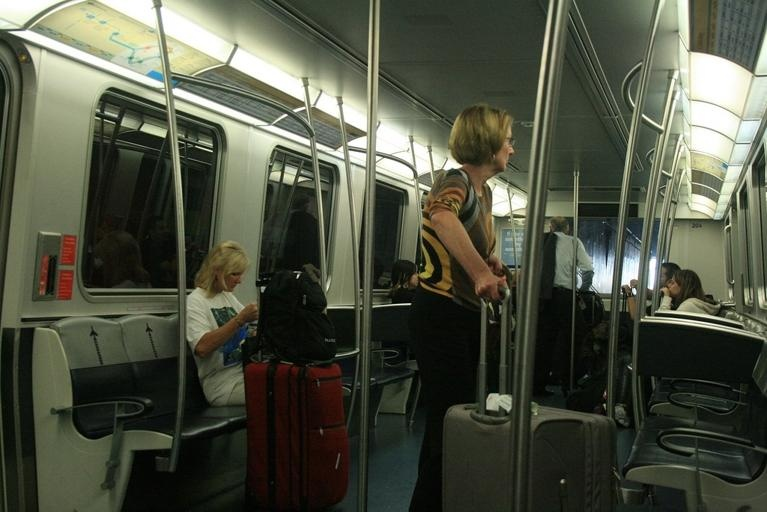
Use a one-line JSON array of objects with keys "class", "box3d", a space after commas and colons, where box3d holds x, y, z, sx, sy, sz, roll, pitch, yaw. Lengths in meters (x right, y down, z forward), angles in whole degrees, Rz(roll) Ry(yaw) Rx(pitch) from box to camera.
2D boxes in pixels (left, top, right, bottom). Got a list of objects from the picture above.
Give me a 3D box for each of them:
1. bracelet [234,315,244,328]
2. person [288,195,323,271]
[{"class": "bracelet", "box3d": [-1.097, 0.500, 5.107, 0.069, 0.063, 0.023, -4, -2, 31]}, {"class": "person", "box3d": [-0.801, -0.234, 6.971, 0.171, 0.746, 0.591, 1, -3, 19]}]
